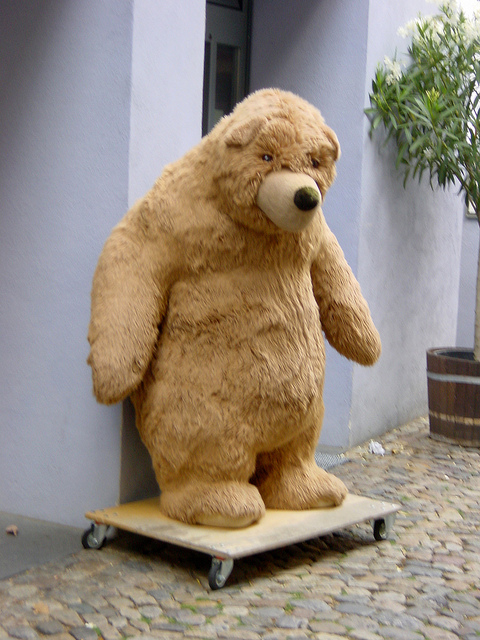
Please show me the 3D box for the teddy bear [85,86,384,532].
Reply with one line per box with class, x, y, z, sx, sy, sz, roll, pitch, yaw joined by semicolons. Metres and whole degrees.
teddy bear;-0.007;-0.040;2.145;0.961;1.439;0.574;2;-1;-8
